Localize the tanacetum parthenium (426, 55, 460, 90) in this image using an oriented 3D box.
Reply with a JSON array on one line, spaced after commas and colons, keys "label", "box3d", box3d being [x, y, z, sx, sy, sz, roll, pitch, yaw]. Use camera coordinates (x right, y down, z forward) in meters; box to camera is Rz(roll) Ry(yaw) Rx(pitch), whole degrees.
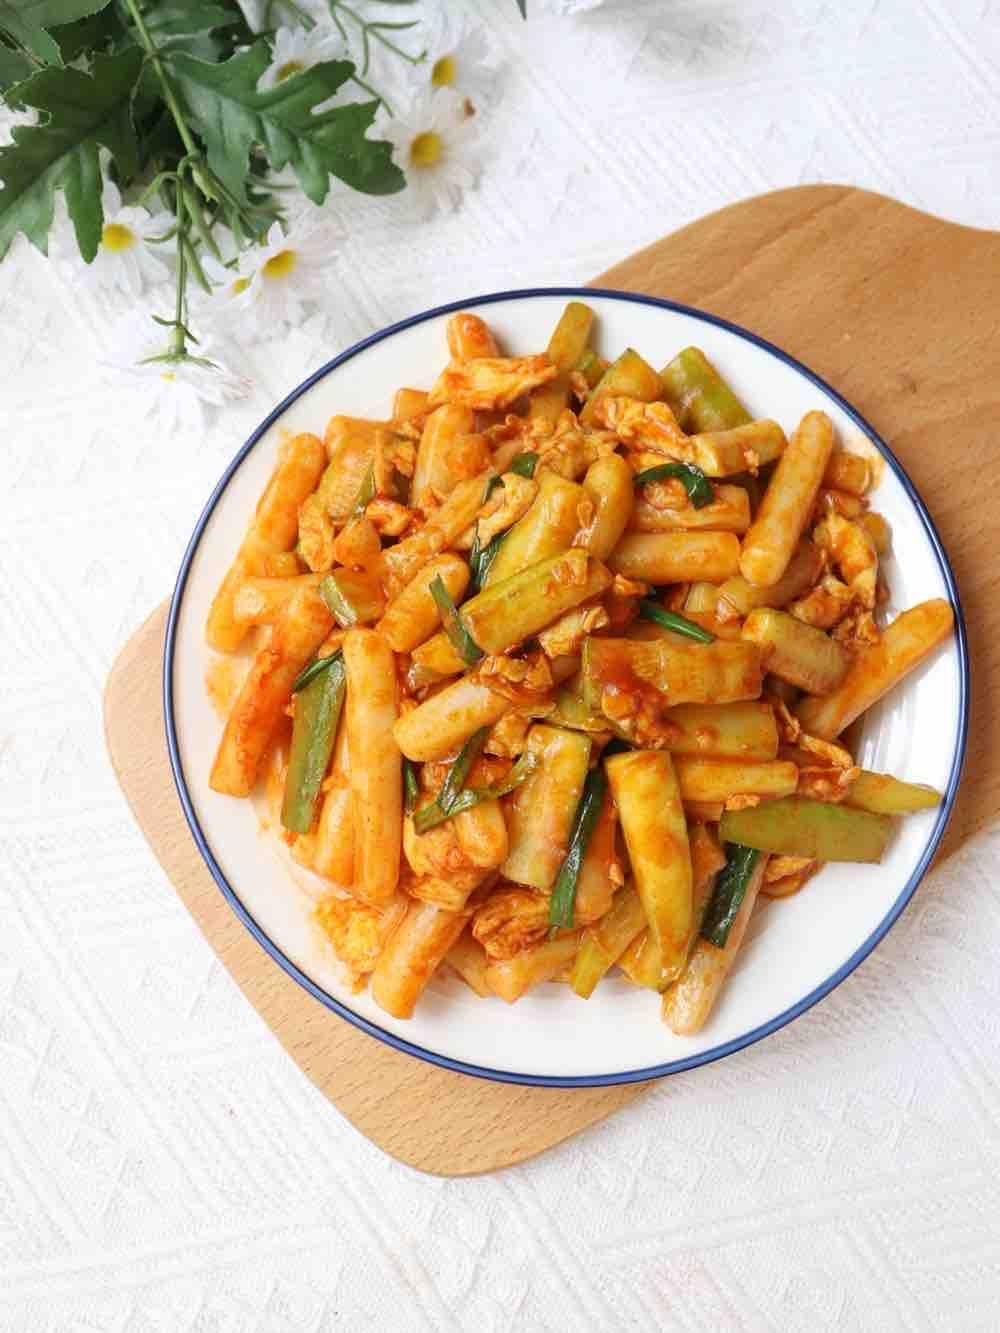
[{"label": "tanacetum parthenium", "box3d": [-0.097, -1.040, 2.122, 0.066, 0.022, 0.058, -7, -67, -19]}]
